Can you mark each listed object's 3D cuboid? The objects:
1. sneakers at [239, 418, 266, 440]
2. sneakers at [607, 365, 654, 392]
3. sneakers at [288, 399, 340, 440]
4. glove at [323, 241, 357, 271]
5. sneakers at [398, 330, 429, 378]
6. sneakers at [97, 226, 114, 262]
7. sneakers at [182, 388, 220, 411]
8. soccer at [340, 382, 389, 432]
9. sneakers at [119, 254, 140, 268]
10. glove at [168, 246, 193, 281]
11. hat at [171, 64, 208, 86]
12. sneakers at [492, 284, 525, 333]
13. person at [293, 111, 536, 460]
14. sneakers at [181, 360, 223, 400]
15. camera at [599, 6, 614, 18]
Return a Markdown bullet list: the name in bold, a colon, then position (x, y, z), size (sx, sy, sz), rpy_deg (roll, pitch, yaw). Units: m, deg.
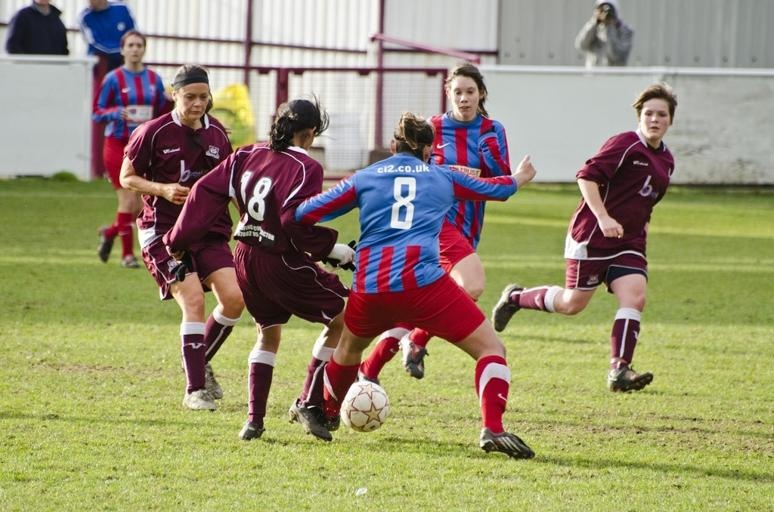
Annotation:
- **sneakers**: position (-0.982, 1.266, 9.475), size (0.108, 0.162, 0.164), rpy_deg (7, 24, 9)
- **sneakers**: position (1.905, 0.985, 10.173), size (0.360, 0.242, 0.186), rpy_deg (10, 11, 44)
- **sneakers**: position (-0.555, 1.225, 9.718), size (0.457, 0.204, 0.169), rpy_deg (31, 48, 31)
- **glove**: position (-0.322, -0.011, 9.656), size (0.138, 0.127, 0.364), rpy_deg (-12, -20, 32)
- **sneakers**: position (0.222, 0.790, 10.494), size (0.199, 0.485, 0.166), rpy_deg (-8, -24, 25)
- **sneakers**: position (-2.805, -0.153, 13.019), size (0.158, 0.384, 0.129), rpy_deg (-5, -15, 32)
- **sneakers**: position (-1.420, 1.093, 9.919), size (0.238, 0.105, 0.130), rpy_deg (-2, 0, 36)
- **soccer**: position (-0.161, 1.111, 9.575), size (0.321, 0.361, 0.343), rpy_deg (-3, -22, -5)
- **sneakers**: position (-2.699, 0.054, 13.625), size (0.088, 0.110, 0.236), rpy_deg (-4, 2, -43)
- **glove**: position (-1.575, 0.065, 9.967), size (0.106, 0.117, 0.296), rpy_deg (-28, -17, -23)
- **hat**: position (-1.505, -1.415, 10.150), size (0.181, 0.123, 0.190), rpy_deg (3, 8, 33)
- **sneakers**: position (1.094, 0.492, 11.592), size (0.192, 0.518, 0.215), rpy_deg (32, -26, -32)
- **person**: position (0.187, 0.140, 9.536), size (1.500, 2.347, 0.490), rpy_deg (4, 7, 10)
- **sneakers**: position (-1.428, 0.971, 10.319), size (0.374, 0.163, 0.128), rpy_deg (43, 43, 21)
- **camera**: position (2.739, -3.054, 16.159), size (0.119, 0.078, 0.166), rpy_deg (-12, -33, 15)
